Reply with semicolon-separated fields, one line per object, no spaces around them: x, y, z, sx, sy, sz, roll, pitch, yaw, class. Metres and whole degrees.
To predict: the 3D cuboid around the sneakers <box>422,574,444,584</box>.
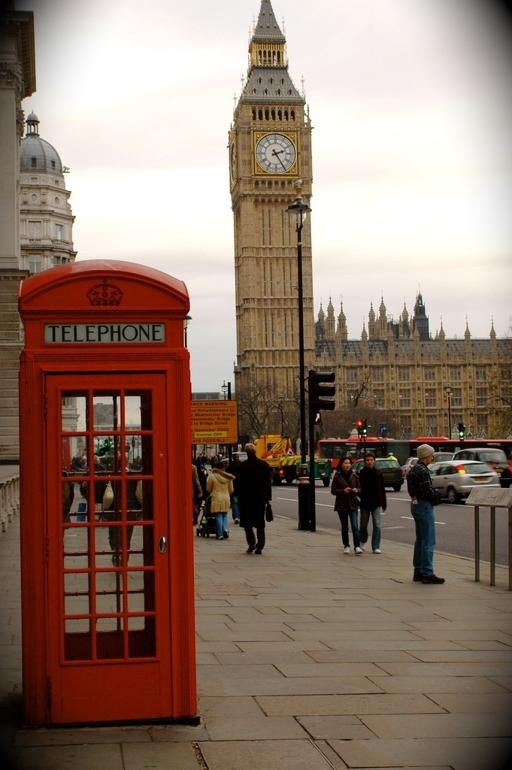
2.120;2.329;11.993;0.279;0.148;0.107;0;1;-3;sneakers

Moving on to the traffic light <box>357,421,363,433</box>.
5.230;2.045;49.966;0.314;0.609;0.914;3;-3;6;traffic light

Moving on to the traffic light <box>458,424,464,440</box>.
11.876;2.665;57.843;0.228;0.803;1.407;2;-3;16;traffic light

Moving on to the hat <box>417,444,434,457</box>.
2.111;0.814;12.423;0.183;0.192;0.193;-7;10;-23;hat

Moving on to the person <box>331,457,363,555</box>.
1.499;1.953;16.368;0.510;1.528;0.826;3;-2;5;person

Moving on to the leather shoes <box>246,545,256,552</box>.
-0.090;2.684;16.256;0.136;0.113;0.333;4;-3;0;leather shoes

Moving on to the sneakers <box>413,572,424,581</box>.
1.957;2.326;12.132;0.072;0.113;0.252;4;-3;-18;sneakers

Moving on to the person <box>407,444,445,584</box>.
2.135;1.585;12.558;0.484;1.670;1.362;3;-3;10;person

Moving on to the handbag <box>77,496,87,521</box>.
-0.977;0.702;5.610;0.060;0.093;0.023;4;-2;-15;handbag
